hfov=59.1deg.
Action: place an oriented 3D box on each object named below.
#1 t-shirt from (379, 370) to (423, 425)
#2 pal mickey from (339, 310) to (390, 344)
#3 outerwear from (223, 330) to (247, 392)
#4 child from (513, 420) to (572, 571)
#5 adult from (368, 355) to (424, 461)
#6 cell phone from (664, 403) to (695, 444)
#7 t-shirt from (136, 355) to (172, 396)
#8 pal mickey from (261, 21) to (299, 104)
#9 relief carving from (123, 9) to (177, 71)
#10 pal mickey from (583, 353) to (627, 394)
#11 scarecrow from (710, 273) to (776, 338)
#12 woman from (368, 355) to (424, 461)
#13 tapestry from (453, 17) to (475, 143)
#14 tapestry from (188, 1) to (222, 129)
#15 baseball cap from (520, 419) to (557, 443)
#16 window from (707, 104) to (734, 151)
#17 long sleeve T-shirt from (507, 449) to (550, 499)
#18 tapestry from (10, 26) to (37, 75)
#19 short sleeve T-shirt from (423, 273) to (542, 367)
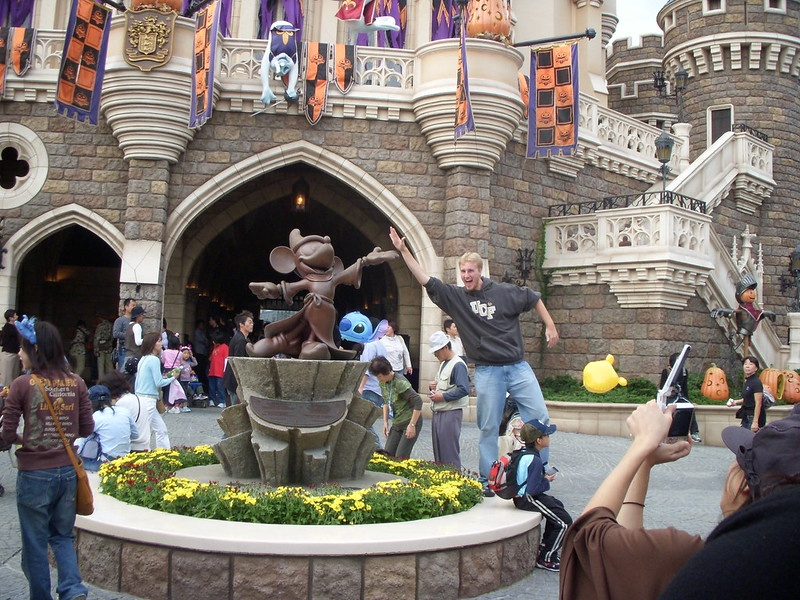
[{"bbox_3d":[-0.003,1.012,7.120,0.313,0.603,0.604,-10,0,-35],"label":"t-shirt"},{"bbox_3d":[-0.426,0.325,7.945,0.402,0.341,0.533,0,-10,36],"label":"pal mickey"},{"bbox_3d":[-2.470,1.005,10.694,0.407,1.139,0.413,2,16,-18],"label":"outerwear"},{"bbox_3d":[1.040,1.449,5.246,0.467,1.066,0.425,3,4,22],"label":"child"},{"bbox_3d":[-0.015,1.272,7.048,0.478,1.340,0.430,-1,-2,11],"label":"adult"},{"bbox_3d":[1.038,0.460,2.641,0.097,0.185,0.024,-2,29,6],"label":"cell phone"},{"bbox_3d":[-2.439,0.738,6.945,0.341,0.449,0.304,5,5,25],"label":"t-shirt"},{"bbox_3d":[-2.129,-4.178,12.475,0.660,1.458,0.424,1,0,-10],"label":"pal mickey"},{"bbox_3d":[-4.252,-4.348,11.879,0.998,1.291,0.154,1,-7,-10],"label":"relief carving"},{"bbox_3d":[2.160,0.801,7.576,0.338,0.350,0.531,1,0,13],"label":"pal mickey"},{"bbox_3d":[6.889,0.125,13.985,1.464,1.359,0.443,2,0,-15],"label":"scarecrow"},{"bbox_3d":[-0.020,1.272,7.048,0.480,1.347,0.461,0,0,20],"label":"woman"},{"bbox_3d":[1.108,-3.883,12.165,0.302,1.938,0.875,1,0,4],"label":"tapestry"},{"bbox_3d":[-3.260,-3.992,11.849,0.266,2.196,0.752,1,0,-39],"label":"tapestry"},{"bbox_3d":[1.021,0.955,5.239,0.235,0.121,0.148,-24,21,-9],"label":"baseball cap"},{"bbox_3d":[9.734,-5.392,21.755,0.656,1.261,0.062,-8,11,-23],"label":"window"},{"bbox_3d":[0.945,1.352,5.306,0.231,0.415,0.388,15,-31,-23],"label":"long sleeve T-shirt"},{"bbox_3d":[-6.764,-4.425,12.591,0.444,0.945,0.091,1,0,2],"label":"tapestry"},{"bbox_3d":[0.738,0.123,6.039,1.091,0.893,0.336,-7,2,-1],"label":"short sleeve T-shirt"}]
